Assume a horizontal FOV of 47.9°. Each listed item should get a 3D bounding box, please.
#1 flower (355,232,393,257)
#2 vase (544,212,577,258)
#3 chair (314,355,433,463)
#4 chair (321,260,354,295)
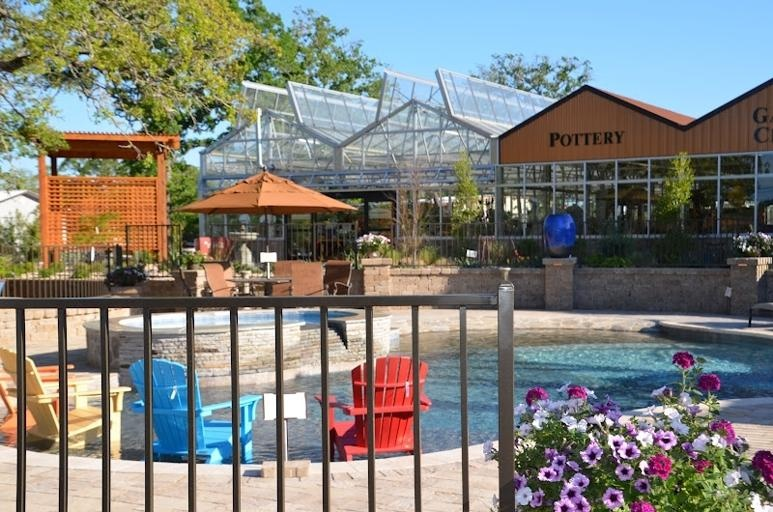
[{"bbox_3d":[-0.415,-0.329,25.473,0.707,0.615,0.813,-1,1,9],"label":"flower"},{"bbox_3d":[4.916,-0.608,24.598,0.798,1.226,0.729,-1,2,-10],"label":"vase"},{"bbox_3d":[-0.327,2.354,13.889,1.419,1.940,1.914,0,-4,-13],"label":"chair"},{"bbox_3d":[-1.328,0.517,22.032,0.700,1.115,0.806,1,-1,13],"label":"chair"}]
